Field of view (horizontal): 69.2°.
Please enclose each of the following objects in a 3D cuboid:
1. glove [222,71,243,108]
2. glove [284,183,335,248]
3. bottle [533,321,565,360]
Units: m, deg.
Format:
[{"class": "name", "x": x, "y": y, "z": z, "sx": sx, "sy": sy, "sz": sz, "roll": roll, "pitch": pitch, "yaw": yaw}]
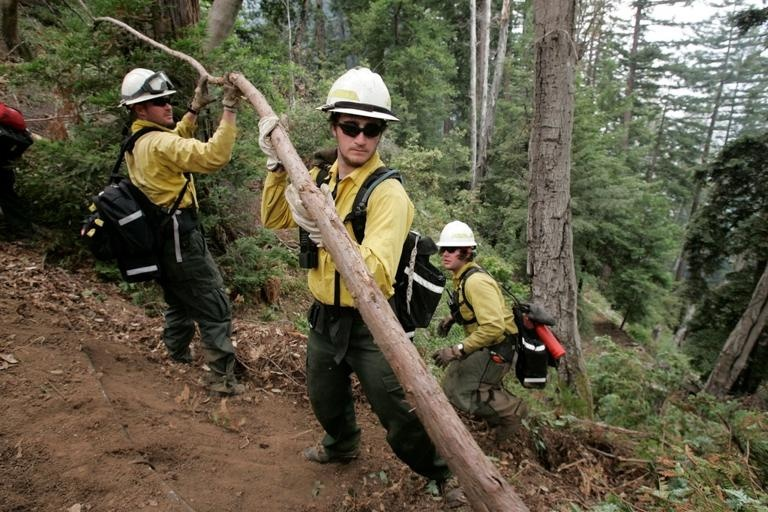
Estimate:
[{"class": "glove", "x": -2.096, "y": -2.278, "z": 7.720, "sx": 0.243, "sy": 0.474, "sz": 0.129, "roll": 0, "pitch": 18, "yaw": -17}, {"class": "glove", "x": -0.838, "y": -0.596, "z": 6.801, "sx": 0.766, "sy": 0.317, "sz": 0.577, "roll": 47, "pitch": -15, "yaw": 5}, {"class": "bottle", "x": 2.534, "y": 1.338, "z": 8.651, "sx": 0.408, "sy": 0.162, "sz": 0.668, "roll": -15, "pitch": 67, "yaw": -33}]
